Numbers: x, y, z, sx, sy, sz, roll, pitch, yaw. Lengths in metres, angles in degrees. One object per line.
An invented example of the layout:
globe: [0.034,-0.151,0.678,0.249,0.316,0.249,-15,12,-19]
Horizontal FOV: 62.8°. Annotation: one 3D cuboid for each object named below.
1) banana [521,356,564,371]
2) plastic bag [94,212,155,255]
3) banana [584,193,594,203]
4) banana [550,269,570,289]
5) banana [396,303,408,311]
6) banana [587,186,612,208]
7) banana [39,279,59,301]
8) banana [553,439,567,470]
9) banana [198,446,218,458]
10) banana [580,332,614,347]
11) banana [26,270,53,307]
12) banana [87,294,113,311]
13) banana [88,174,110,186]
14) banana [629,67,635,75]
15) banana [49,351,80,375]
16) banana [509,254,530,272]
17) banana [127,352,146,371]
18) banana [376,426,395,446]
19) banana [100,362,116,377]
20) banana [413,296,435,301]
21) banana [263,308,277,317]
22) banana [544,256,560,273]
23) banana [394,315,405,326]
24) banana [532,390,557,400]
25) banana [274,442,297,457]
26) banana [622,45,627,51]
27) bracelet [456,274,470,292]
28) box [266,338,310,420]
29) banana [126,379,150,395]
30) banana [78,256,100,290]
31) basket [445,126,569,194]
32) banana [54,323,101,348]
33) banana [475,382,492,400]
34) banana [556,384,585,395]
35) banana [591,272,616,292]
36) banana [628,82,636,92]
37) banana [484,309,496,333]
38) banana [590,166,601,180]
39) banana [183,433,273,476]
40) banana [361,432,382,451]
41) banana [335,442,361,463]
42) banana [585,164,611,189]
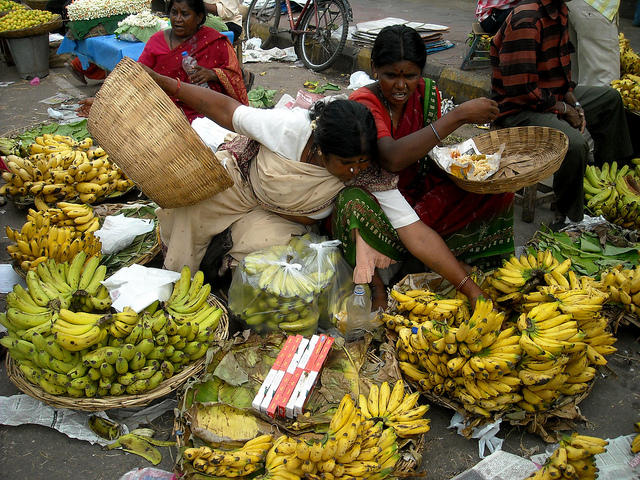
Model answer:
banana: [1.326,0.724,3.108,0.257,0.048,0.089,-4,25,17]
plastic bag: [-1.621,-0.077,4.359,0.389,0.118,0.296,-19,39,-31]
banana: [2.471,-0.390,4.830,0.057,0.031,0.076,-17,55,-33]
banana: [1.603,0.257,3.500,0.048,0.059,0.174,-29,49,3]
banana: [0.558,0.458,3.605,0.040,0.045,0.066,-18,0,-7]
banana: [2.543,-0.384,4.737,0.299,0.128,0.106,-26,41,-34]
banana: [-1.803,0.334,3.493,0.137,0.034,0.046,38,33,10]
banana: [1.336,1.192,2.929,0.043,0.050,0.145,-17,25,21]
banana: [-0.623,1.158,2.874,0.081,0.041,0.035,2,1,-18]
banana: [1.729,0.620,3.292,0.203,0.049,0.072,-17,29,-3]
banana: [-1.862,0.328,3.486,0.070,0.058,0.216,-4,63,-62]
banana: [-1.436,0.416,3.528,0.195,0.068,0.129,4,65,-50]
banana: [-2.075,-0.574,4.974,0.223,0.073,0.067,-22,75,-35]
banana: [3.569,-1.916,5.988,0.068,0.094,0.025,-14,17,-23]
banana: [-1.556,0.759,3.194,0.063,0.141,0.205,15,19,18]
banana: [1.372,0.160,3.622,0.042,0.054,0.157,-12,48,-34]
banana: [-1.121,0.732,3.205,0.071,0.094,0.056,34,25,-29]
banana: [0.383,1.105,3.009,0.042,0.055,0.159,42,66,5]
banana: [-1.269,0.771,3.142,0.065,0.083,0.048,-8,56,-1]
banana: [0.724,0.398,3.599,0.130,0.018,0.060,1,34,1]
banana: [-0.339,0.492,3.595,0.074,0.056,0.059,-7,68,14]
banana: [1.637,0.174,3.698,0.124,0.042,0.126,-19,4,31]
banana: [0.537,0.534,3.533,0.071,0.047,0.066,7,34,11]
banana: [1.358,0.935,3.180,0.123,0.056,0.045,2,33,3]
banana: [-0.187,1.141,2.880,0.121,0.043,0.059,-26,43,-18]
banana: [3.503,-2.206,6.027,0.021,0.039,0.105,26,42,34]
bracelet: [0.963,0.282,3.503,0.112,0.105,0.047,-22,39,-29]
box: [-0.190,0.878,3.274,0.078,0.120,0.613,25,57,6]
banana: [-1.109,0.889,3.190,0.141,0.069,0.066,-30,45,18]
banana: [-1.598,0.228,3.676,0.058,0.088,0.268,22,52,1]
basket: [1.416,-0.676,4.088,0.845,0.248,0.884,-30,18,-10]
banana: [-1.448,0.587,3.168,0.259,0.094,0.084,-14,36,-20]
banana: [0.988,0.904,3.174,0.117,0.039,0.032,42,18,12]
banana: [1.571,0.932,3.293,0.176,0.082,0.041,1,33,1]
banana: [1.978,0.294,3.650,0.162,0.050,0.106,-21,82,-40]
banana: [3.088,-1.506,5.212,0.026,0.084,0.063,31,21,-37]
banana: [1.006,0.468,3.105,0.147,0.040,0.048,-59,15,-13]
banana: [2.602,-0.633,4.954,0.035,0.044,0.132,-18,78,-49]
banana: [-0.508,1.183,2.931,0.398,0.213,0.151,2,29,-1]
banana: [0.294,1.118,2.948,0.145,0.052,0.054,-12,35,-17]
banana: [0.146,1.136,2.825,0.136,0.090,0.041,-39,57,-7]
banana: [2.598,-0.584,4.912,0.089,0.054,0.255,-6,57,-39]
